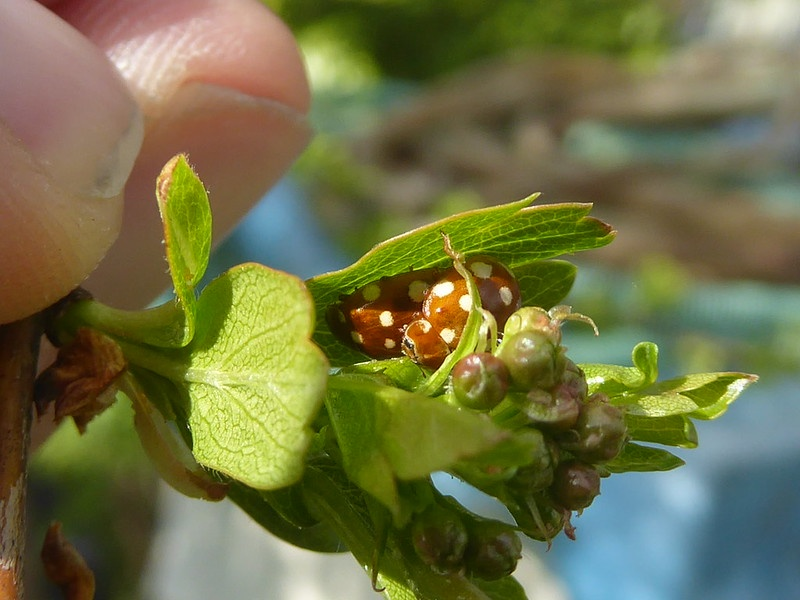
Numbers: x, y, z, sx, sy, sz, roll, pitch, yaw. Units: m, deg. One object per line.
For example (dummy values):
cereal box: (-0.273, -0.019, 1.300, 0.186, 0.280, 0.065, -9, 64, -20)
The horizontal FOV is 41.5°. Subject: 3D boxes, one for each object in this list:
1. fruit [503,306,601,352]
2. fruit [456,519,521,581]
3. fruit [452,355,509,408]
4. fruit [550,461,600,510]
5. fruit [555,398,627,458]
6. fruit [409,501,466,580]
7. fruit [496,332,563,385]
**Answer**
fruit: (0.094, 0.016, 0.634, 0.046, 0.028, 0.019, 4, 91, -1)
fruit: (0.052, 0.143, 0.619, 0.036, 0.027, 0.029, 12, 100, 44)
fruit: (0.045, 0.047, 0.597, 0.025, 0.033, 0.025, 0, 28, -5)
fruit: (0.101, 0.109, 0.617, 0.030, 0.024, 0.024, -25, 74, 39)
fruit: (0.113, 0.077, 0.616, 0.031, 0.018, 0.035, 26, 72, 21)
fruit: (0.024, 0.141, 0.615, 0.036, 0.012, 0.043, -23, 75, 18)
fruit: (0.072, 0.034, 0.599, 0.025, 0.034, 0.026, -16, 64, 9)
